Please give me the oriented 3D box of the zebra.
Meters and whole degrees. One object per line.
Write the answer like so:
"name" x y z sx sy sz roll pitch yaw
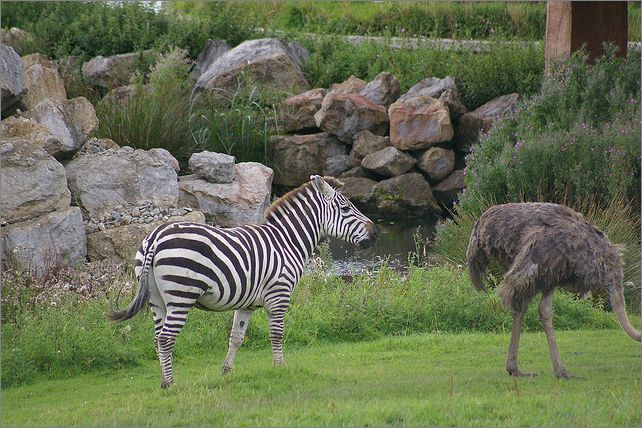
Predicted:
"zebra" -1.428 1.320 22.682 5.136 4.342 1.565 -3 10 -23
